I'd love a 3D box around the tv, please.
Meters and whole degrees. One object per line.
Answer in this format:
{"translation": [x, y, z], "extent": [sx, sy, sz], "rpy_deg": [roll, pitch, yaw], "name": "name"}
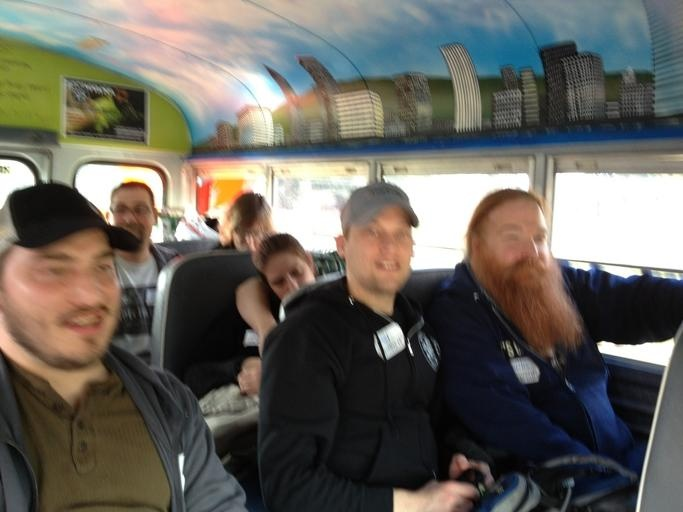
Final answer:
{"translation": [-3.126, -1.941, 6.498], "extent": [0.939, 0.610, 0.065], "rpy_deg": [-4, 4, -44], "name": "tv"}
